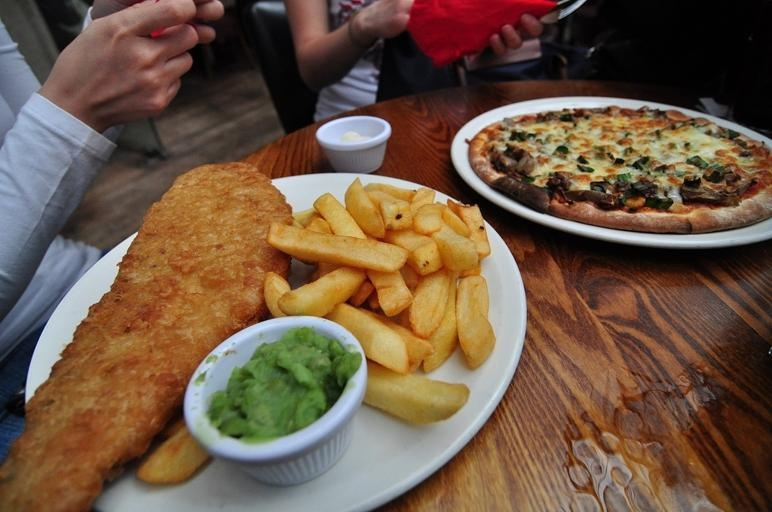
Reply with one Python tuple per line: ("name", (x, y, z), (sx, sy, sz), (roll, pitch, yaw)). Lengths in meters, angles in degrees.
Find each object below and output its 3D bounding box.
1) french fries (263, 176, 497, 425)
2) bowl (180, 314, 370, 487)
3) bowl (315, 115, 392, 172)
("french fries", (0.050, 0.164, 2.404), (0.937, 0.297, 1.052), (28, 53, 21))
("bowl", (-0.420, 0.551, 2.161), (0.634, 0.277, 0.651), (-2, 54, 2))
("bowl", (-0.196, -0.679, 3.308), (0.411, 0.195, 0.404), (-2, 38, 1))
